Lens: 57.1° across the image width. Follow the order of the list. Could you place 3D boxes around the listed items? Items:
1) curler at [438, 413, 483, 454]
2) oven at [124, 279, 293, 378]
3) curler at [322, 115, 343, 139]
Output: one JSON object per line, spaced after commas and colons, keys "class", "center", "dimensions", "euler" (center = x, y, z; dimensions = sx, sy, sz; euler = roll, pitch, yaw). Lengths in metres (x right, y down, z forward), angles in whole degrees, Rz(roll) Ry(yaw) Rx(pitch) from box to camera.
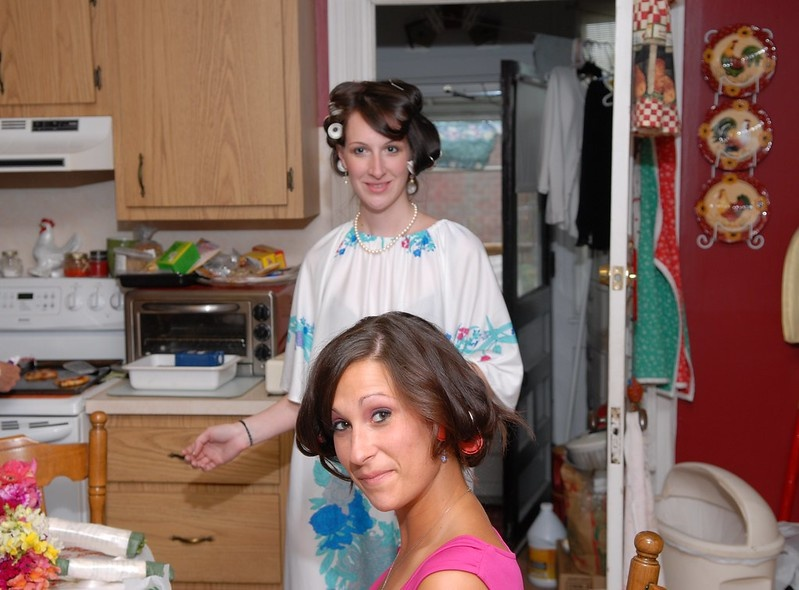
{"class": "curler", "center": [0.117, 0.272, 1.468], "dimensions": [0.088, 0.086, 0.022], "euler": [-24, 15, 24]}
{"class": "oven", "center": [-0.875, 0.163, 3.221], "dimensions": [0.603, 0.395, 0.419], "euler": [-1, 5, -13]}
{"class": "curler", "center": [-0.205, -0.508, 2.224], "dimensions": [0.052, 0.055, 0.018], "euler": [1, 0, 27]}
